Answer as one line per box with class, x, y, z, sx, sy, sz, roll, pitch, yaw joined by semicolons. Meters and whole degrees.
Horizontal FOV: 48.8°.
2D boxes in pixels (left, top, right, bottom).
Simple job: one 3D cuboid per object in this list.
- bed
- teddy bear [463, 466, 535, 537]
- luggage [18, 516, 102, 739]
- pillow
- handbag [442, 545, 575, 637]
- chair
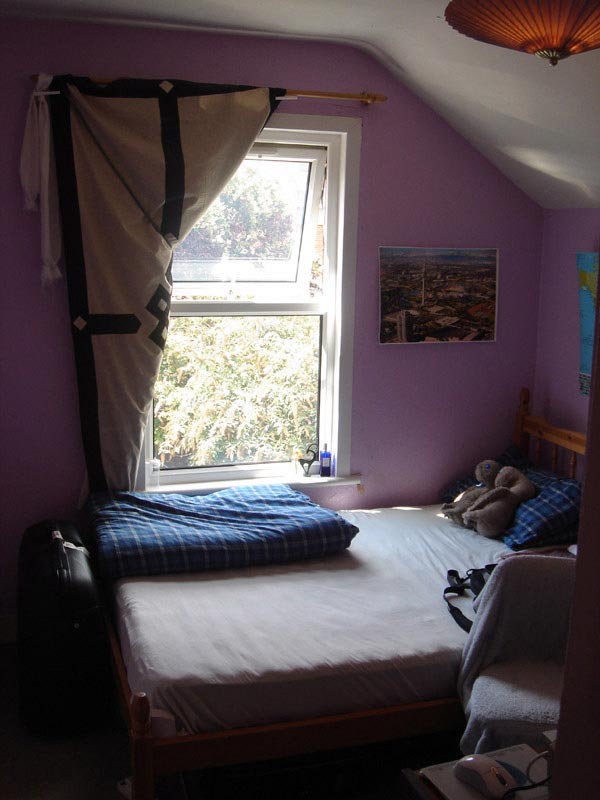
bed;0.196;0.586;2.141;1.458;0.908;1.019;-2;15;-9
teddy bear;0.870;0.461;2.962;0.265;0.194;0.512;4;19;21
luggage;-0.787;0.774;2.155;0.196;0.379;0.548;-3;51;-19
pillow;0.879;0.419;2.829;0.514;0.201;0.542;-16;18;-13
handbag;0.649;0.632;2.278;0.315;0.090;0.285;-17;1;-2
chair;0.548;0.675;1.692;0.267;0.508;0.302;5;9;15
